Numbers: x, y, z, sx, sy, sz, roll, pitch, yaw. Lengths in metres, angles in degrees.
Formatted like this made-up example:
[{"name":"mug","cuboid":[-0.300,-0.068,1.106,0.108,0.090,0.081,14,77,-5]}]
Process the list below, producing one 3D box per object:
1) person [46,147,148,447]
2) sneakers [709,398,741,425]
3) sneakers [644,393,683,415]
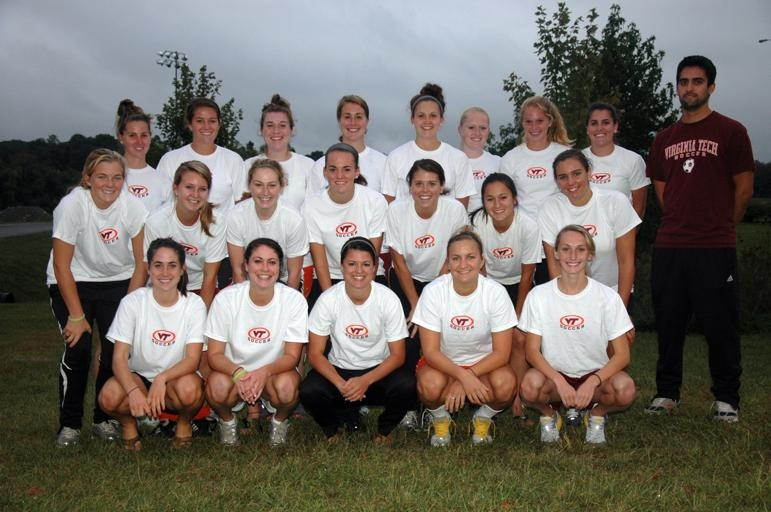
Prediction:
[{"name":"person","cuboid":[-3.650,0.439,7.952,1.165,3.557,1.021,-4,7,-31]},{"name":"sneakers","cuboid":[4.294,1.952,7.876,0.290,0.201,0.345,3,6,29]},{"name":"sneakers","cuboid":[3.664,1.959,8.258,0.399,0.146,0.201,0,-3,-13]}]
